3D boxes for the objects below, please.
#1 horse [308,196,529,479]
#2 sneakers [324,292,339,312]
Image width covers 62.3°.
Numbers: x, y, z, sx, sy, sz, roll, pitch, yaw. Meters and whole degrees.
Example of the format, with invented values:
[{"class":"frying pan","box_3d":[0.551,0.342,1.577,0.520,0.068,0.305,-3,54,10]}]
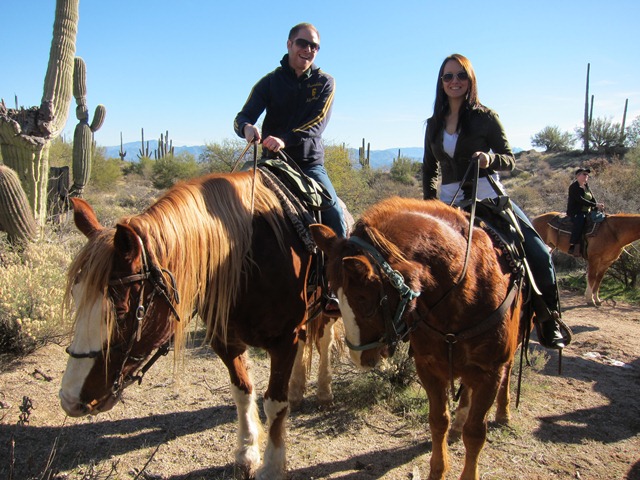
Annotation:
[{"class":"horse","box_3d":[1.048,1.091,5.141,1.990,2.885,0.581,0,7,-12]},{"class":"sneakers","box_3d":[0.135,0.624,5.371,0.067,0.193,0.133,5,-7,-38]}]
